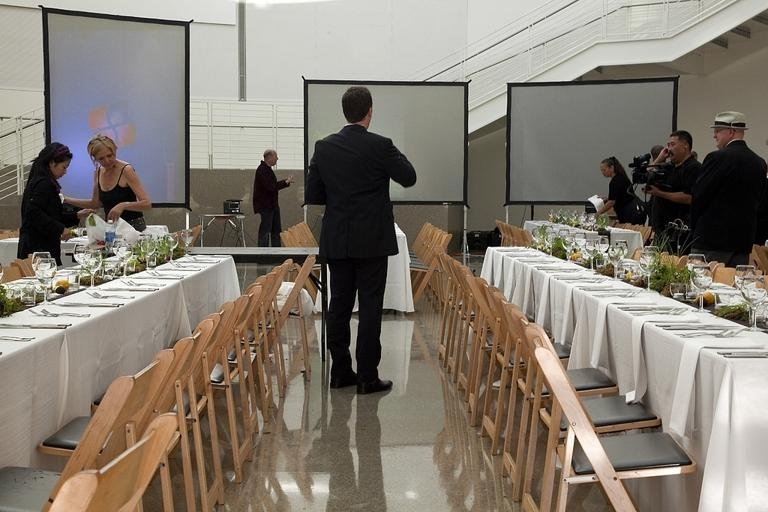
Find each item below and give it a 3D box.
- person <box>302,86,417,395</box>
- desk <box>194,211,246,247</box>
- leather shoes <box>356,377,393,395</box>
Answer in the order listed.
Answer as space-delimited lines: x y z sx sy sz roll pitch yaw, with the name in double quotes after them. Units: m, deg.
-0.214 -0.115 5.306 0.845 2.521 0.398 0 9 -2 "person"
-3.128 -0.529 12.146 0.598 0.735 0.679 1 2 -4 "desk"
-0.078 1.107 5.493 0.347 0.184 0.120 -4 4 -40 "leather shoes"
